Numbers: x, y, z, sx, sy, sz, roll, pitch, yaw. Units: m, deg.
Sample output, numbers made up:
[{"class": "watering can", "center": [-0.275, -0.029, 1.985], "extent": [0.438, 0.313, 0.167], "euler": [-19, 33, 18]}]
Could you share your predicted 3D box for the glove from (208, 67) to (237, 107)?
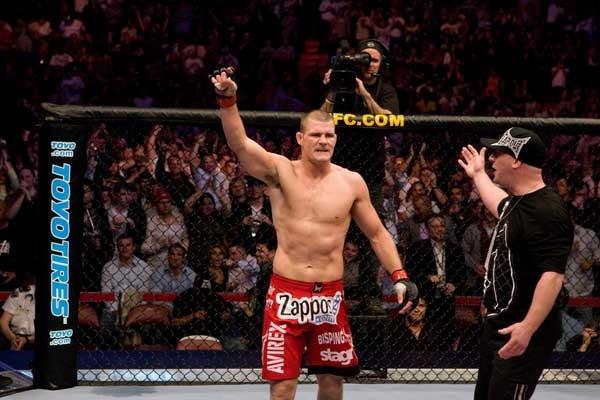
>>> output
[{"class": "glove", "center": [-0.642, -0.939, 5.920], "extent": [0.205, 0.334, 0.168], "euler": [0, 11, -6]}]

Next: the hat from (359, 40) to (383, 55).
[{"class": "hat", "center": [0.689, -1.497, 6.982], "extent": [0.253, 0.090, 0.250], "euler": [-1, 0, 5]}]

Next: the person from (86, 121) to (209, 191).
[{"class": "person", "center": [-2.000, -0.503, 8.707], "extent": [1.246, 0.959, 0.268], "euler": [2, -27, -2]}]

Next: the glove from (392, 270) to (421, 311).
[{"class": "glove", "center": [0.894, 0.745, 6.017], "extent": [0.224, 0.327, 0.295], "euler": [0, 11, -8]}]

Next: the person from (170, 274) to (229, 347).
[{"class": "person", "center": [-1.060, 1.211, 7.669], "extent": [0.695, 0.666, 0.262], "euler": [5, -8, -7]}]

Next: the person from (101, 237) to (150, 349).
[{"class": "person", "center": [-1.902, 0.964, 7.778], "extent": [0.557, 1.067, 0.990], "euler": [-1, 11, -12]}]

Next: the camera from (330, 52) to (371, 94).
[{"class": "camera", "center": [0.469, -1.194, 6.676], "extent": [0.381, 0.272, 0.426], "euler": [0, -3, 0]}]
